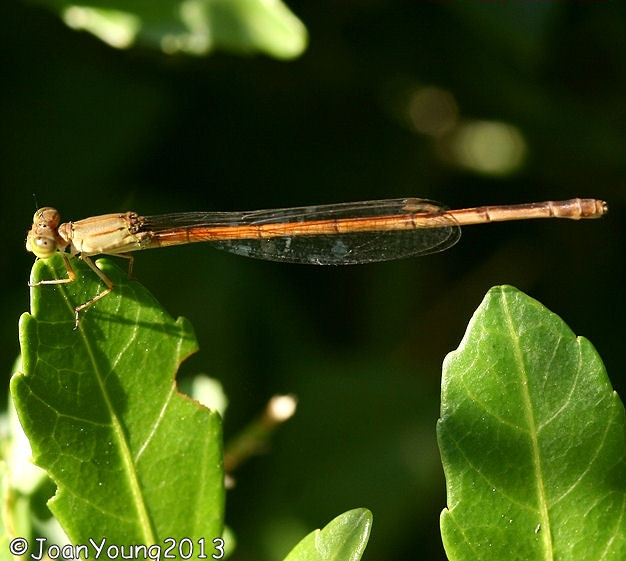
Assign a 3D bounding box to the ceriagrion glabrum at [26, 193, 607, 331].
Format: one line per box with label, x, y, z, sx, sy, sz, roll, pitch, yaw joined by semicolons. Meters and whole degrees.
ceriagrion glabrum;0.140;-0.286;3.950;2.830;0.583;0.976;-3;5;-13
